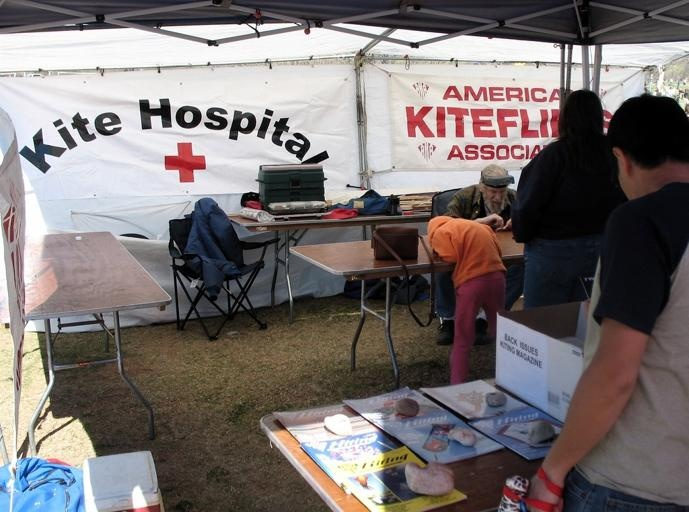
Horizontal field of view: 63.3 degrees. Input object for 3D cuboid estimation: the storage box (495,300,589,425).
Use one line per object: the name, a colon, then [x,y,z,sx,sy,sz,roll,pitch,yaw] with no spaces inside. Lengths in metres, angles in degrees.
storage box: [0.736,0.332,1.913,0.380,0.208,0.366,-9,12,-37]

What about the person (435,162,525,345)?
person: [1.130,-0.017,4.620,0.800,1.357,0.724,7,4,31]

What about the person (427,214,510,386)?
person: [0.772,0.314,3.524,0.372,1.090,0.457,-5,16,-15]

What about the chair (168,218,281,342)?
chair: [-1.126,0.170,5.252,0.947,1.025,0.884,-7,16,-24]
